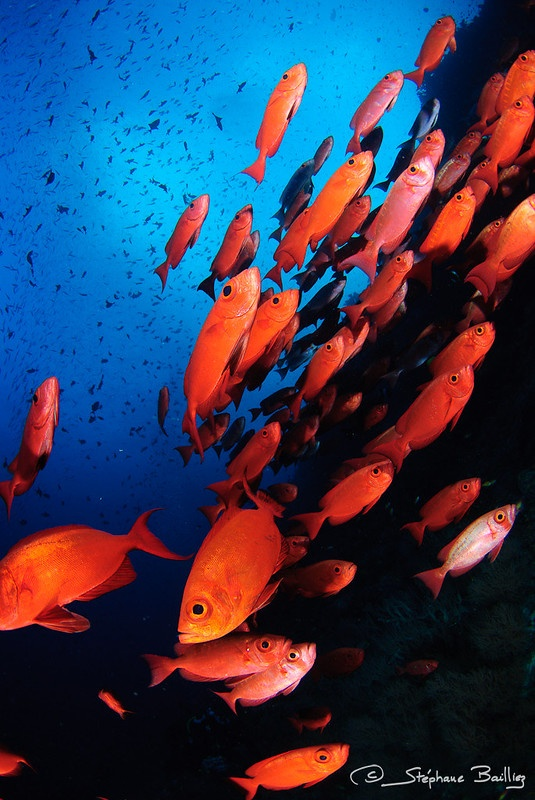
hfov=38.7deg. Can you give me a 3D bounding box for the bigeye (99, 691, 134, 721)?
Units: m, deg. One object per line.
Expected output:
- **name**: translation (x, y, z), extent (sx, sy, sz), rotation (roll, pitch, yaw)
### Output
- **bigeye**: translation (-0.696, 1.396, 3.475), extent (0.132, 0.112, 0.054), rotation (18, 61, 42)
